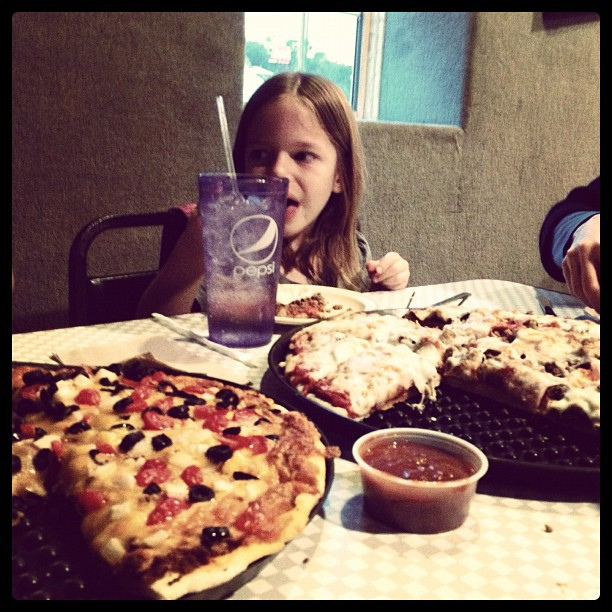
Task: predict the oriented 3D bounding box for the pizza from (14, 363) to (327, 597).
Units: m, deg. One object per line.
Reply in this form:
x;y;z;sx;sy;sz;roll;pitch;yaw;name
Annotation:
-0.159;0.150;0.680;0.429;0.079;0.307;14;16;43;pizza

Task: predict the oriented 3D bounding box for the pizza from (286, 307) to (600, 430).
0.265;0.083;1.014;0.579;0.065;0.507;2;14;13;pizza

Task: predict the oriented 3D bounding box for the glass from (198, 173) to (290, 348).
-0.109;-0.083;1.084;0.155;0.323;0.160;0;8;-25;glass
